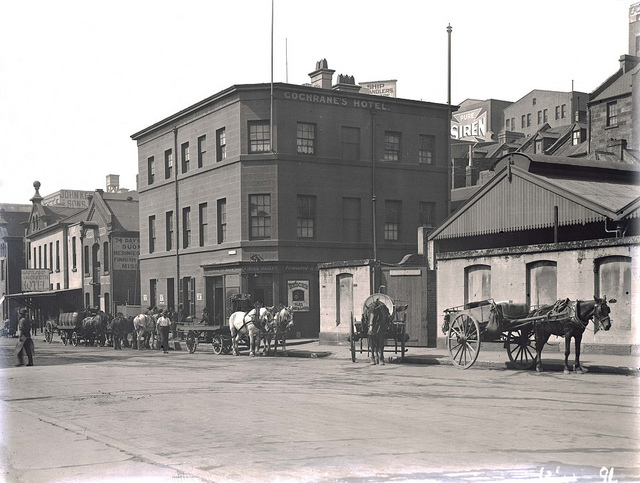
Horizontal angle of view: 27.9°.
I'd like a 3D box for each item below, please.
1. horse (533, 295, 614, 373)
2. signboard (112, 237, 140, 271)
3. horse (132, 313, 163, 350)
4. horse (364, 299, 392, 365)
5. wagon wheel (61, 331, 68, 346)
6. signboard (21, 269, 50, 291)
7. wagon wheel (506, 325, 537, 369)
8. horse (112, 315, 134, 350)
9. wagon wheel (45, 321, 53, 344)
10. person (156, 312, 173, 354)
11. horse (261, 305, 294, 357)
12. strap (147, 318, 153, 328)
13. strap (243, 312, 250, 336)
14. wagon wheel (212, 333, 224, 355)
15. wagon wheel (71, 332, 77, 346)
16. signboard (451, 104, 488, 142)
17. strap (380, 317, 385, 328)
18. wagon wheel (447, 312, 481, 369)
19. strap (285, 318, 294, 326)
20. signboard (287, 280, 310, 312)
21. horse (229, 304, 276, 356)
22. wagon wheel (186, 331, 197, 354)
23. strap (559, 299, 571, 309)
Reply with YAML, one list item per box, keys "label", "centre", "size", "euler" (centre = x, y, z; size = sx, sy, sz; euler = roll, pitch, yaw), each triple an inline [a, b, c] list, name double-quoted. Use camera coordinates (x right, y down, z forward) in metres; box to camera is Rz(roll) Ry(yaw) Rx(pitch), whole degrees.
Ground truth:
- label: "horse"
  centre: [8.730, 3.248, 45.649]
  size: [1.119, 2.734, 4.012]
  euler: [4, -6, -33]
- label: "signboard"
  centre: [-12.561, 0.834, 83.270]
  size: [2.080, 2.024, 1.115]
  euler: [1, -4, -34]
- label: "horse"
  centre: [-8.390, 4.339, 64.263]
  size: [0.651, 1.852, 2.431]
  euler: [0, -3, 42]
- label: "horse"
  centre: [2.262, 3.587, 50.518]
  size: [0.897, 2.409, 0.709]
  euler: [-2, -1, -16]
- label: "wagon wheel"
  centre: [-14.535, 5.487, 73.333]
  size: [0.264, 0.906, 0.893]
  euler: [-2, 2, -28]
- label: "signboard"
  centre: [-20.998, 2.838, 95.247]
  size: [1.567, 1.357, 0.171]
  euler: [5, -26, -33]
- label: "wagon wheel"
  centre: [7.312, 3.844, 47.083]
  size: [0.490, 1.659, 1.639]
  euler: [0, 1, -17]
- label: "horse"
  centre: [-10.022, 4.586, 65.662]
  size: [1.067, 1.670, 1.443]
  euler: [-2, 6, -9]
- label: "wagon wheel"
  centre: [-16.442, 5.548, 78.207]
  size: [0.379, 1.615, 1.592]
  euler: [-1, 0, -20]
- label: "person"
  centre: [-7.308, 4.317, 60.492]
  size: [0.558, 1.667, 1.385]
  euler: [-2, 6, -7]
- label: "horse"
  centre: [-1.992, 3.961, 56.433]
  size: [0.731, 1.880, 2.958]
  euler: [9, -15, -32]
- label: "strap"
  centre: [-8.397, 3.983, 63.623]
  size: [0.266, 0.425, 0.068]
  euler: [1, 6, 24]
- label: "strap"
  centre: [-3.297, 3.620, 57.104]
  size: [0.216, 0.276, 1.962]
  euler: [0, 28, -13]
- label: "wagon wheel"
  centre: [-4.616, 4.617, 58.674]
  size: [0.420, 0.935, 0.746]
  euler: [-2, 6, -10]
- label: "wagon wheel"
  centre: [-13.580, 5.336, 71.311]
  size: [0.197, 0.690, 0.684]
  euler: [-2, -11, -20]
- label: "signboard"
  centre: [14.197, -11.415, 126.545]
  size: [6.469, 3.788, 0.682]
  euler: [-11, 13, -41]
- label: "strap"
  centre: [2.432, 3.122, 50.231]
  size: [0.148, 0.316, 0.077]
  euler: [-5, 7, -37]
- label: "wagon wheel"
  centre: [5.276, 3.605, 47.509]
  size: [0.528, 2.123, 2.091]
  euler: [4, -1, -27]
- label: "strap"
  centre: [-1.369, 3.464, 55.418]
  size: [0.098, 0.430, 0.065]
  euler: [43, 14, -25]
- label: "signboard"
  centre: [-1.193, 2.802, 65.785]
  size: [1.438, 1.896, 0.072]
  euler: [8, -18, -30]
- label: "horse"
  centre: [-3.171, 3.775, 56.947]
  size: [1.028, 2.578, 3.740]
  euler: [4, -11, -37]
- label: "wagon wheel"
  centre: [-6.006, 4.670, 60.088]
  size: [0.357, 1.011, 0.829]
  euler: [-2, 6, -12]
- label: "strap"
  centre: [8.585, 2.194, 45.516]
  size: [0.166, 0.201, 0.690]
  euler: [-3, 6, -15]
